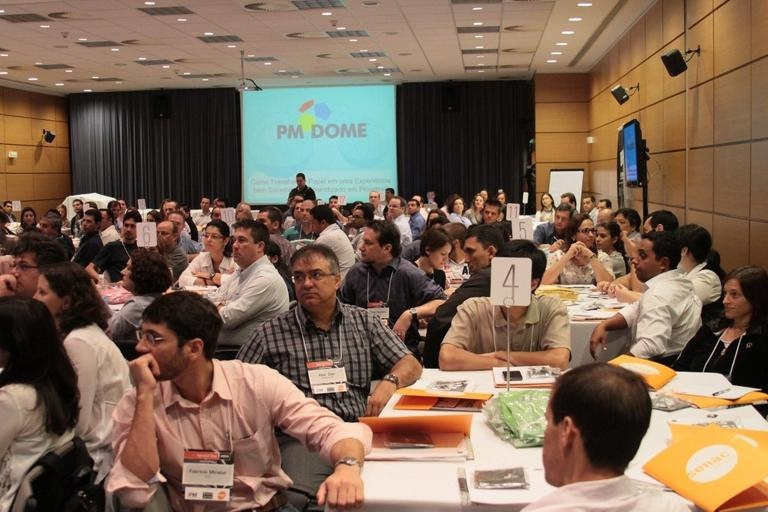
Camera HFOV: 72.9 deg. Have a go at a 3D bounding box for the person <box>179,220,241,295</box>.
[{"bbox_3d":[-1.998,-0.017,6.142,0.723,0.934,0.804,4,6,28],"label":"person"}]

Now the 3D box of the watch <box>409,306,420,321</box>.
[{"bbox_3d":[0.243,0.457,4.105,0.060,0.086,0.089,-2,45,-5],"label":"watch"}]

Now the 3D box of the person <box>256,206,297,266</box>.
[{"bbox_3d":[-1.486,-0.233,7.133,0.408,0.805,0.782,0,-14,-26],"label":"person"}]

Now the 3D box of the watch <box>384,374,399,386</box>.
[{"bbox_3d":[0.046,0.641,2.725,0.069,0.065,0.047,9,46,-11],"label":"watch"}]

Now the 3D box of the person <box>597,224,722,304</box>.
[{"bbox_3d":[2.540,0.048,4.763,0.973,0.743,0.740,3,1,16],"label":"person"}]

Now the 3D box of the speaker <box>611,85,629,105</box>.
[{"bbox_3d":[4.771,-3.206,10.471,0.299,0.350,0.689,1,7,22],"label":"speaker"}]

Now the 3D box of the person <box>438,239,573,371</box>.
[{"bbox_3d":[0.739,0.435,3.174,0.755,1.022,0.600,-2,6,13],"label":"person"}]

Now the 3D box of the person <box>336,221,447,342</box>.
[{"bbox_3d":[0.028,0.231,4.418,0.988,1.054,0.641,10,16,22],"label":"person"}]

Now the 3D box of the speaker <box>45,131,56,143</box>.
[{"bbox_3d":[-10.693,-3.752,16.710,0.308,0.312,0.346,3,-3,-33],"label":"speaker"}]

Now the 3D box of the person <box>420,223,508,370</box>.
[{"bbox_3d":[0.554,0.292,3.705,0.383,1.216,0.422,13,-33,16],"label":"person"}]

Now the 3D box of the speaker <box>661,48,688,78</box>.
[{"bbox_3d":[4.149,-2.726,7.404,0.294,0.392,0.619,2,8,34],"label":"speaker"}]

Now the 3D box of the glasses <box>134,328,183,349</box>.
[{"bbox_3d":[-0.885,0.318,2.053,0.193,0.097,0.046,-1,6,11],"label":"glasses"}]
